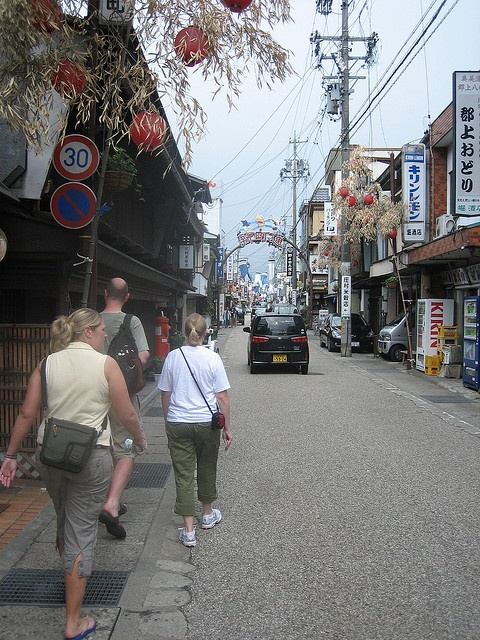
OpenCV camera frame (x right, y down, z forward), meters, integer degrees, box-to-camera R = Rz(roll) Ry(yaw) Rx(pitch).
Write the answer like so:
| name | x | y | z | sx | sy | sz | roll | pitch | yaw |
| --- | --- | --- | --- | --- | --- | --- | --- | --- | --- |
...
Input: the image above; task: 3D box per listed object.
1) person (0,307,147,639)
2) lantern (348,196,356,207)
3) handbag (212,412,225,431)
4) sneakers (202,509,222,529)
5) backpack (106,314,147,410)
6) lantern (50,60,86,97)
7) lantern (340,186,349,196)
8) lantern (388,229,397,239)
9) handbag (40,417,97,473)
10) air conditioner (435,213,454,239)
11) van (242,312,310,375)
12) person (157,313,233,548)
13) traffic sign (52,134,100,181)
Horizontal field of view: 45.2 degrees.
| name | x | y | z | sx | sy | sz | roll | pitch | yaw |
| --- | --- | --- | --- | --- | --- | --- | --- | --- | --- |
| person | -0.794 | 0.682 | 2.734 | 0.603 | 1.471 | 0.470 | 0 | 0 | -13 |
| lantern | 3.999 | -4.304 | 20.538 | 0.262 | 0.374 | 0.475 | 0 | 0 | 8 |
| handbag | -0.141 | 0.672 | 3.918 | 0.066 | 0.183 | 0.113 | 1 | 2 | 14 |
| sneakers | -0.200 | 1.442 | 4.196 | 0.058 | 0.110 | 0.189 | 1 | 17 | 14 |
| backpack | -0.795 | 0.273 | 4.125 | 0.164 | 0.543 | 0.233 | -12 | -8 | 8 |
| lantern | -1.091 | -1.561 | 3.705 | 0.222 | 0.238 | 0.258 | 0 | 0 | -22 |
| lantern | 3.710 | -4.616 | 20.489 | 0.333 | 0.376 | 0.658 | 0 | 0 | 13 |
| lantern | 5.029 | -2.889 | 19.051 | 0.278 | 0.417 | 0.842 | 0 | 0 | 13 |
| handbag | -0.774 | 0.573 | 2.619 | 0.129 | 0.177 | 0.087 | 17 | -13 | 1 |
| air conditioner | 5.713 | -2.654 | 16.010 | 0.436 | 0.664 | 0.935 | 0 | 0 | 22 |
| van | 1.076 | 0.498 | 15.424 | 0.891 | 1.155 | 1.802 | 0 | 12 | -1 |
| person | -0.285 | 0.725 | 3.978 | 0.510 | 1.539 | 0.466 | 0 | 0 | -17 |
| traffic sign | -1.384 | -1.382 | 4.902 | 0.354 | 0.567 | 0.048 | 3 | -32 | -19 |
